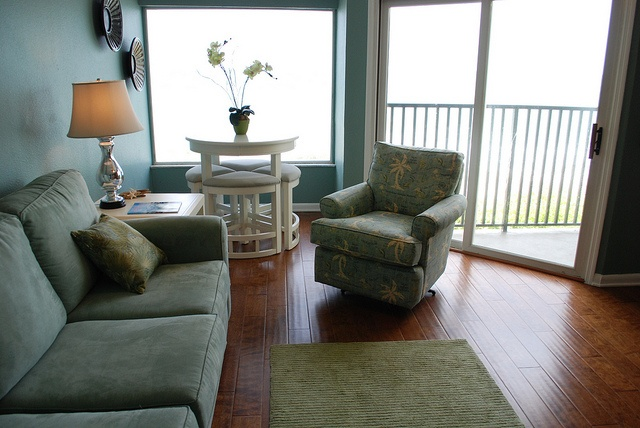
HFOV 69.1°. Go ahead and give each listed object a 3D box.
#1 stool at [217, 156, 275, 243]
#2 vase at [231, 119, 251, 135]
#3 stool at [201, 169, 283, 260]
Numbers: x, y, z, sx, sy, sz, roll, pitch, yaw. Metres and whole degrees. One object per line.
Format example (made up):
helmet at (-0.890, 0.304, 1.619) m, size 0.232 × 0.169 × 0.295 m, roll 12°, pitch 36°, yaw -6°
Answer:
stool at (-0.664, -0.219, 4.920) m, size 0.757 × 1.009 × 0.733 m, roll 0°, pitch 19°, yaw -1°
vase at (-0.742, -0.811, 4.361) m, size 0.141 × 0.122 × 0.138 m, roll 5°, pitch 8°, yaw 40°
stool at (-0.709, -0.086, 4.516) m, size 0.763 × 0.829 × 0.751 m, roll -6°, pitch 25°, yaw -11°
